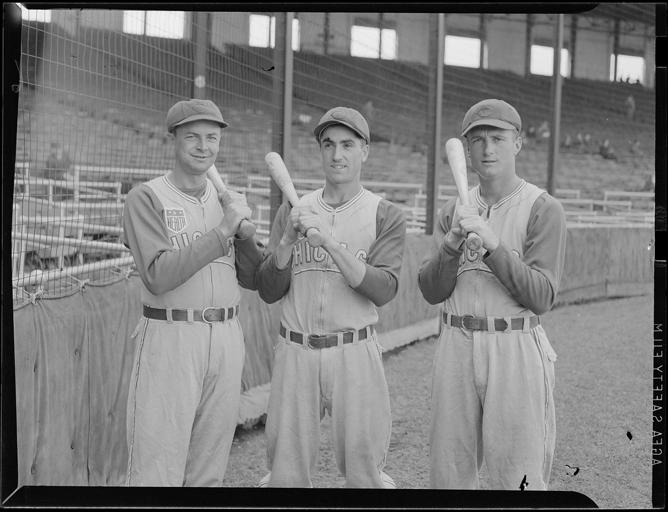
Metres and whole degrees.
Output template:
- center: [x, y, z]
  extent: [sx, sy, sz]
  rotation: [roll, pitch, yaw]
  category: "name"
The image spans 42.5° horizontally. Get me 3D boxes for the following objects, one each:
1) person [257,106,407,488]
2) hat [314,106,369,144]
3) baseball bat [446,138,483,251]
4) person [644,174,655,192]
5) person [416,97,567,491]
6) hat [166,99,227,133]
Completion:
- center: [-0.059, 0.527, 5.602]
  extent: [0.750, 2.999, 0.784]
  rotation: [4, 16, 2]
  category: "person"
- center: [0.042, -0.842, 5.480]
  extent: [0.339, 0.236, 0.226]
  rotation: [0, 2, -3]
  category: "hat"
- center: [0.816, -0.457, 5.413]
  extent: [0.141, 0.874, 0.128]
  rotation: [-6, -12, -11]
  category: "baseball bat"
- center: [3.431, -0.804, 9.374]
  extent: [0.082, 0.176, 1.235]
  rotation: [1, 2, 19]
  category: "person"
- center: [0.991, 0.248, 5.408]
  extent: [0.892, 2.486, 0.425]
  rotation: [1, 2, 10]
  category: "person"
- center: [-0.886, -0.899, 5.433]
  extent: [0.206, 0.156, 0.291]
  rotation: [0, 1, -25]
  category: "hat"
